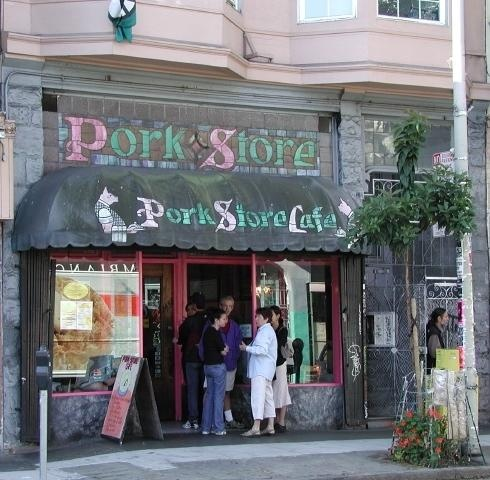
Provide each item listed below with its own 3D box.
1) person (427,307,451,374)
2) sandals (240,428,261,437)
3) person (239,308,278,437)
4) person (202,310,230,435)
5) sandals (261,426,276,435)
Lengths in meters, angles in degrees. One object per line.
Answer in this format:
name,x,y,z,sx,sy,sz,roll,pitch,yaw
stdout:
person,3.269,1.697,14.157,0.387,1.074,1.627,-3,-5,13
sandals,0.086,2.881,12.450,0.295,0.155,0.107,4,-2,-1
person,0.224,2.015,12.660,0.534,1.935,0.712,-2,-4,2
person,-0.473,2.025,12.739,0.409,1.882,0.494,-3,-4,16
sandals,0.340,2.942,12.797,0.251,0.130,0.102,1,-1,43
